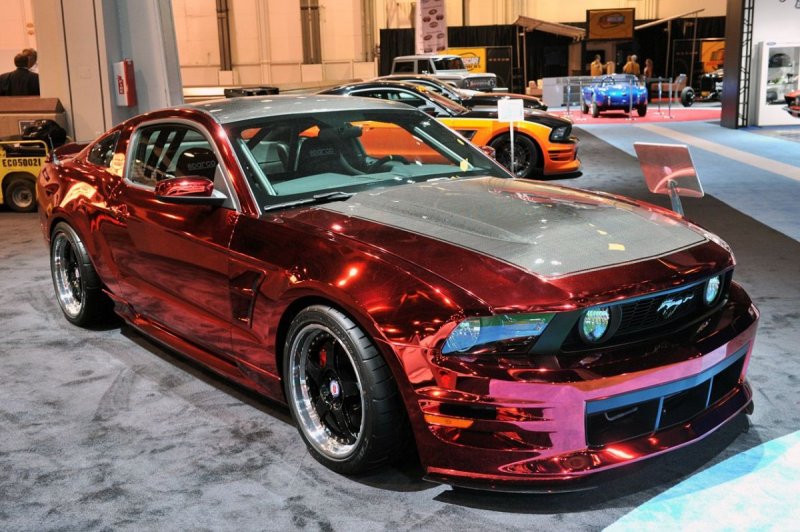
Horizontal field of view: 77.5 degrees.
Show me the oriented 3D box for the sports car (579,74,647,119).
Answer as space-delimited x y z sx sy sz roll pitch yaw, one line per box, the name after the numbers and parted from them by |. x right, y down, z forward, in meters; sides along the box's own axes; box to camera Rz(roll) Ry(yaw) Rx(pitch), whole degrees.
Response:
9.124 -7.517 21.873 2.652 1.192 3.433 -1 24 4 | sports car

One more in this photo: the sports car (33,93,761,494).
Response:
-0.831 -0.240 3.666 5.314 1.046 2.531 12 18 38 | sports car

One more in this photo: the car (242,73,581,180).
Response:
-0.012 -3.073 10.893 7.460 1.356 2.581 2 14 11 | car

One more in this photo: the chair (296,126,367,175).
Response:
-0.524 -0.883 3.815 0.635 0.187 0.391 19 29 37 | chair
